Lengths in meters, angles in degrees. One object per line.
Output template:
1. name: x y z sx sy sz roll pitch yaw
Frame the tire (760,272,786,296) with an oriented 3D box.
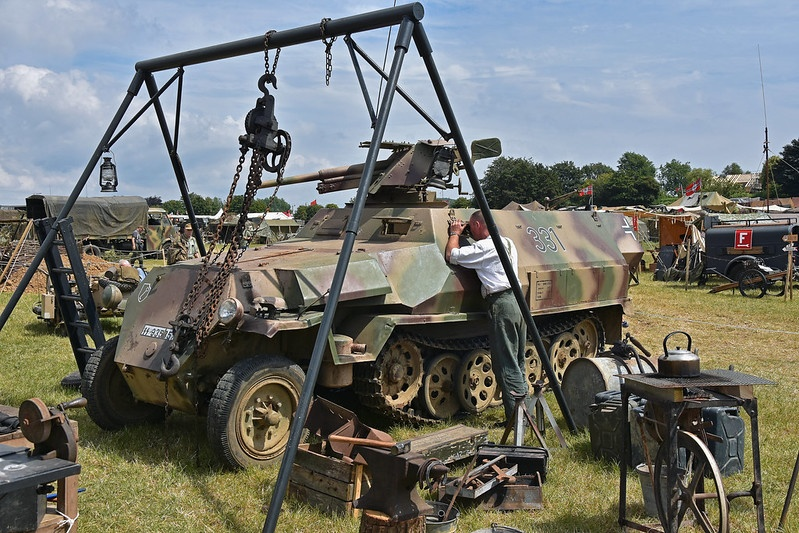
1. tire: 11.059 0.518 22.663 0.794 0.814 1.176 3 3 31

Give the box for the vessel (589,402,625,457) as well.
1. vessel: 2.611 1.997 9.500 0.450 0.794 0.457 -3 21 13

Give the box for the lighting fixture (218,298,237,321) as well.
1. lighting fixture: -1.991 0.513 8.816 0.256 0.272 0.092 3 2 21

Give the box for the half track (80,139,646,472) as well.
1. half track: 0.026 0.418 12.035 8.547 4.415 3.443 2 -1 -43

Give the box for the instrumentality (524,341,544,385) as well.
1. instrumentality: 2.136 1.573 12.152 0.179 0.680 0.607 6 -14 33

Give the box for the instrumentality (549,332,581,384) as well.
1. instrumentality: 2.509 1.413 11.633 0.160 0.708 0.618 6 18 43

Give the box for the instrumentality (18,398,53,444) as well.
1. instrumentality: -3.244 1.401 6.774 0.328 0.400 0.154 31 26 36

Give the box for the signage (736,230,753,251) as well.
1. signage: 10.805 -0.803 23.768 0.555 0.703 0.095 -2 -14 44

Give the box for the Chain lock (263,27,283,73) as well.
1. Chain lock: -1.525 -2.416 8.903 0.102 0.392 0.039 -10 -6 27

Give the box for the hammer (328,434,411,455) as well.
1. hammer: -0.323 1.824 7.733 0.507 0.100 0.307 6 10 18

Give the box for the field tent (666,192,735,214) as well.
1. field tent: 15.810 -3.392 39.272 2.470 0.965 3.900 4 1 32

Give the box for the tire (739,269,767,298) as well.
1. tire: 10.337 0.495 22.228 0.121 0.856 0.724 1 -3 -23

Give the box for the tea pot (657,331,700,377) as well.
1. tea pot: 2.865 0.905 7.793 0.414 0.511 0.428 -1 -6 0
